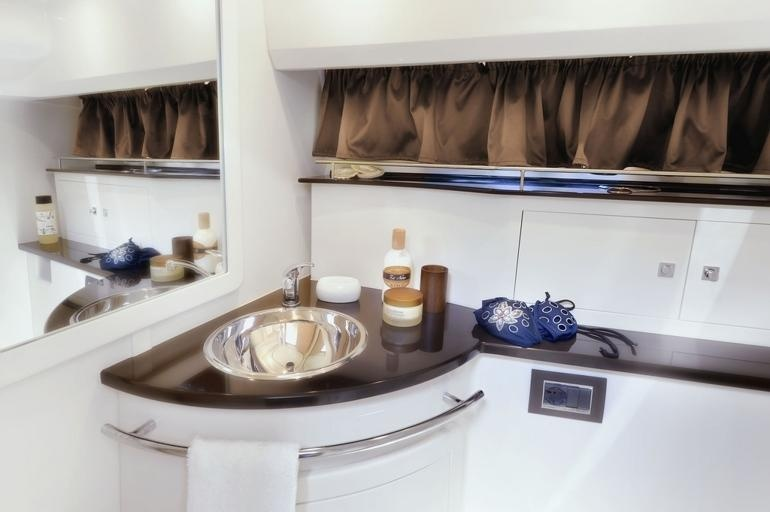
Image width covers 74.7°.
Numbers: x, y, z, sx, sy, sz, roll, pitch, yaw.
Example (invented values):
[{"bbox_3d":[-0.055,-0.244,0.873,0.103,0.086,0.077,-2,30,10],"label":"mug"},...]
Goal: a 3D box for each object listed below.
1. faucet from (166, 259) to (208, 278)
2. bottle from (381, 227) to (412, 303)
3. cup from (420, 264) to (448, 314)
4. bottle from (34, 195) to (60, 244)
[{"bbox_3d":[-0.664,0.038,1.685,0.054,0.029,0.147,-22,-14,13],"label":"faucet"},{"bbox_3d":[0.053,0.016,2.044,0.115,0.254,0.179,1,14,4],"label":"bottle"},{"bbox_3d":[0.191,0.130,1.999,0.093,0.178,0.088,0,14,0],"label":"cup"},{"bbox_3d":[-0.917,-0.098,1.364,0.051,0.132,0.025,-11,18,-36],"label":"bottle"}]
